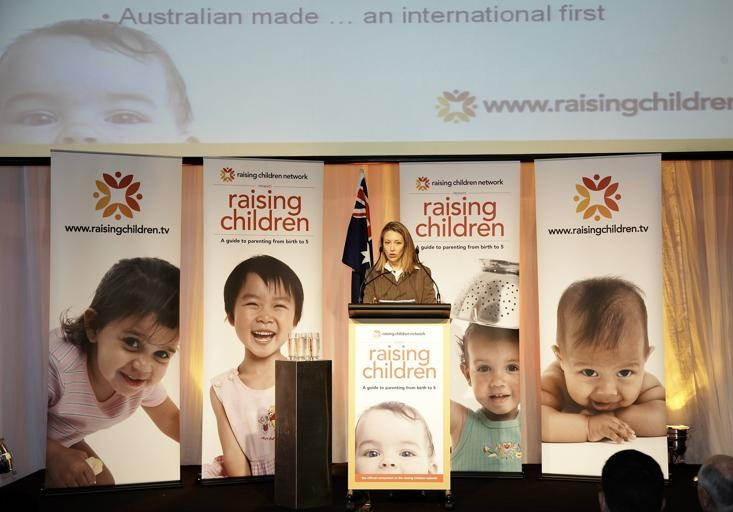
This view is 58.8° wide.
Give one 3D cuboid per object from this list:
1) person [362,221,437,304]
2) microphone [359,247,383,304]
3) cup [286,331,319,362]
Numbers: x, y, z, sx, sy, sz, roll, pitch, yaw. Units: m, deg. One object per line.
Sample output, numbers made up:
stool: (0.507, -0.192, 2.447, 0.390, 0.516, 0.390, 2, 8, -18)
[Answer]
person: (0.313, 0.143, 6.514, 0.822, 1.260, 0.689, -1, -3, 8)
microphone: (0.014, 0.193, 6.310, 0.113, 0.490, 0.270, 10, 6, 29)
cup: (-0.568, 0.824, 5.919, 0.230, 0.242, 0.246, 0, -7, 0)
